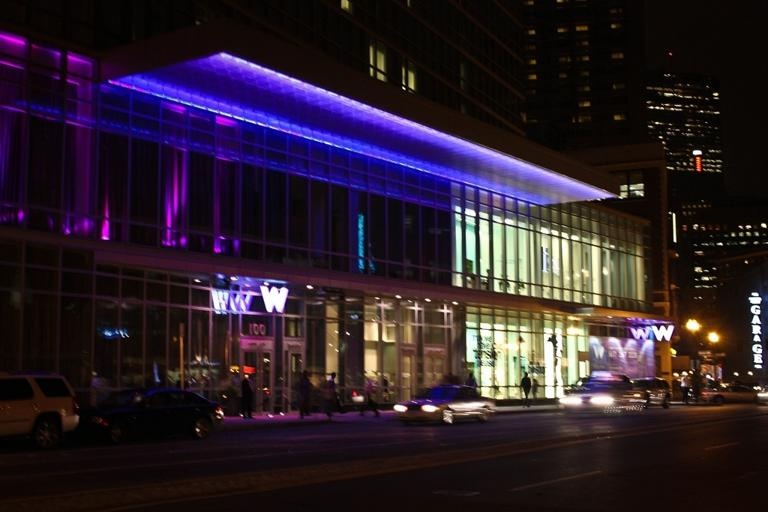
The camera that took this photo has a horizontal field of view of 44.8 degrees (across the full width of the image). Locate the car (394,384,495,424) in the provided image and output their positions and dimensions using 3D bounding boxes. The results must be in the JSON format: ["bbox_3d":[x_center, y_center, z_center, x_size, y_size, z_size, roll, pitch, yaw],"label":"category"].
[{"bbox_3d":[2.813,6.838,43.154,4.777,1.711,1.527,8,-15,-42],"label":"car"}]

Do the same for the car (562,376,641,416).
[{"bbox_3d":[12.761,7.960,53.334,3.902,1.270,2.206,11,-15,-42],"label":"car"}]

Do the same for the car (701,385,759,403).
[{"bbox_3d":[24.719,9.835,66.717,1.019,1.298,3.753,10,-16,-44],"label":"car"}]

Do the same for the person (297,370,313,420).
[{"bbox_3d":[-3.781,6.545,44.424,0.527,2.247,1.286,0,-12,-7],"label":"person"}]
